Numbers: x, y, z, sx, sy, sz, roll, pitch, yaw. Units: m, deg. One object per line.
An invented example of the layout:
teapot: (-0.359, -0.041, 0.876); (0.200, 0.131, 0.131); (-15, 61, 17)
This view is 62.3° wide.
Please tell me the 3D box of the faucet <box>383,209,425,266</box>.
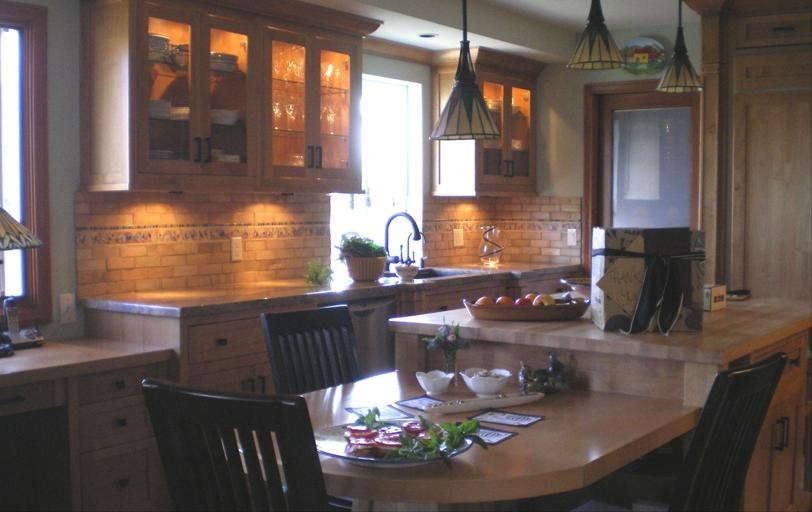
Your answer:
faucet: (-0.033, -0.190, 5.753); (0.289, 0.382, 0.739); (-2, 4, -2)

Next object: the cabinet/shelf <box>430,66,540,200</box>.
cabinet/shelf: (0.648, -1.045, 5.723); (0.540, 1.231, 1.433); (-2, -1, 37)

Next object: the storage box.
storage box: (1.108, 0.117, 3.225); (0.556, 0.485, 0.340); (-1, 2, -14)

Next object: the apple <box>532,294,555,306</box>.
apple: (0.697, 0.223, 3.430); (0.066, 0.056, 0.063); (2, 8, 27)

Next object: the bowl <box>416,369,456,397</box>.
bowl: (0.121, 0.562, 2.983); (0.121, 0.059, 0.120); (-2, -5, 0)

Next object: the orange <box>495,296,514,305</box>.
orange: (0.513, 0.230, 3.447); (0.050, 0.026, 0.052); (2, 6, 42)

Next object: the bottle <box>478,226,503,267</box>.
bottle: (0.810, -0.110, 6.599); (0.280, 0.421, 0.274); (4, -15, 1)

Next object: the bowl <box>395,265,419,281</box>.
bowl: (0.014, 0.131, 5.301); (0.141, 0.079, 0.136); (0, 3, 0)

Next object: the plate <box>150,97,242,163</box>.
plate: (-1.327, -0.800, 4.366); (0.072, 0.382, 0.666); (2, 6, 44)

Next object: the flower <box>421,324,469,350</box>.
flower: (0.176, 0.374, 3.094); (0.151, 0.061, 0.151); (7, 12, 23)

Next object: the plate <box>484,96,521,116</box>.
plate: (0.896, -1.427, 6.345); (0.335, 0.072, 0.292); (1, 2, -28)

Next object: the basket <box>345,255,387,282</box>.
basket: (-0.298, 0.095, 5.092); (0.231, 0.129, 0.221); (-1, 4, -8)

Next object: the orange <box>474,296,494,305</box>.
orange: (0.405, 0.233, 3.466); (0.065, 0.037, 0.067); (-2, 4, 45)

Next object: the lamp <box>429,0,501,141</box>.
lamp: (0.337, -1.051, 3.876); (0.355, 0.832, 1.031); (-1, 4, 6)
